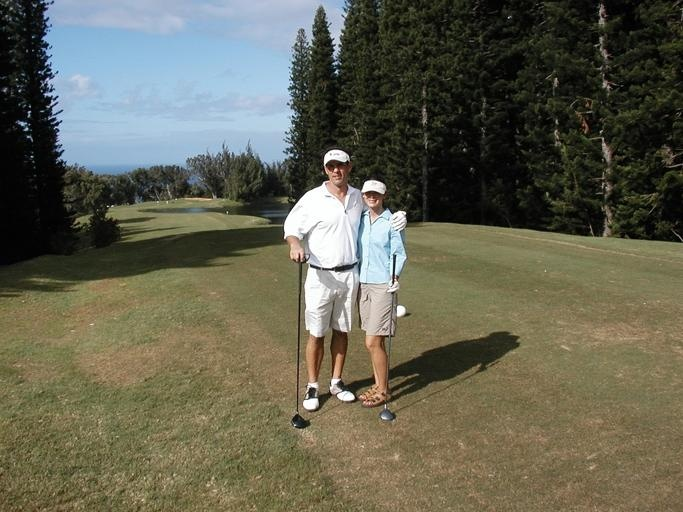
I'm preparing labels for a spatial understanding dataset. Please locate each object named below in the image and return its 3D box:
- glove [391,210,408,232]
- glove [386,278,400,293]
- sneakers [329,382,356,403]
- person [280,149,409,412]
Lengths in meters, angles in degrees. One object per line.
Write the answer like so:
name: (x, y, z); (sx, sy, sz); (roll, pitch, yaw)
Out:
glove: (0.657, -0.368, 5.361); (0.103, 0.224, 0.159); (19, -4, -34)
glove: (0.554, 0.325, 5.188); (0.059, 0.119, 0.142); (19, -37, -25)
sneakers: (-0.003, 1.519, 5.522); (0.134, 0.168, 0.373); (-3, 5, -35)
person: (-0.152, 0.228, 5.388); (0.870, 2.720, 0.812); (-5, 14, -18)
